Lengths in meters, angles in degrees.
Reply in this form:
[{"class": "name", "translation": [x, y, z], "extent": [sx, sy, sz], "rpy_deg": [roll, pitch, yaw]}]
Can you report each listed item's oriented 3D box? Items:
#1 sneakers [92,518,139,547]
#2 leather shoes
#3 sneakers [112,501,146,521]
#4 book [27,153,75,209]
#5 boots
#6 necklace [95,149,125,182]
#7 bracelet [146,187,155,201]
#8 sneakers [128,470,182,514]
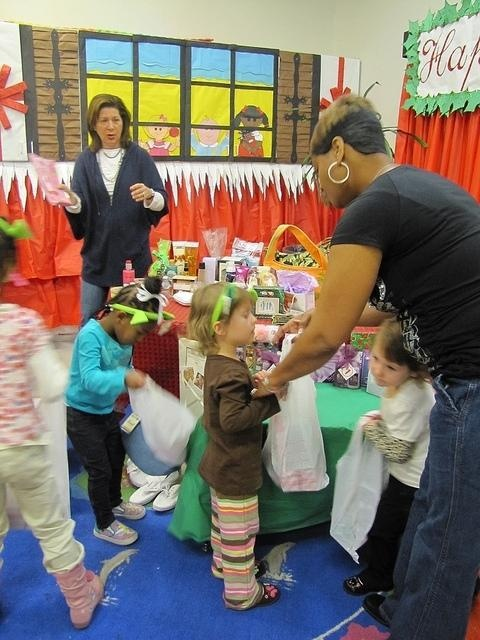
[{"class": "sneakers", "translation": [-0.435, 0.730, 1.579], "extent": [0.144, 0.063, 0.067], "rpy_deg": [4, 6, 14]}, {"class": "leather shoes", "translation": [0.378, 0.820, 1.342], "extent": [0.061, 0.066, 0.153], "rpy_deg": [-4, 18, -25]}, {"class": "sneakers", "translation": [-0.410, 0.717, 1.706], "extent": [0.127, 0.056, 0.052], "rpy_deg": [2, 24, 0]}, {"class": "book", "translation": [-0.930, -0.683, 2.218], "extent": [0.170, 0.246, 0.360], "rpy_deg": [-5, 12, -29]}, {"class": "boots", "translation": [-0.466, 0.766, 1.265], "extent": [0.097, 0.239, 0.228], "rpy_deg": [-9, 59, -28]}, {"class": "necklace", "translation": [-0.684, -0.819, 2.411], "extent": [0.109, 0.187, 0.049], "rpy_deg": [1, -8, -2]}, {"class": "bracelet", "translation": [-0.443, -0.618, 2.228], "extent": [0.023, 0.052, 0.044], "rpy_deg": [0, 9, -14]}, {"class": "sneakers", "translation": [-0.321, 0.688, 1.798], "extent": [0.117, 0.058, 0.157], "rpy_deg": [14, 23, 37]}]
